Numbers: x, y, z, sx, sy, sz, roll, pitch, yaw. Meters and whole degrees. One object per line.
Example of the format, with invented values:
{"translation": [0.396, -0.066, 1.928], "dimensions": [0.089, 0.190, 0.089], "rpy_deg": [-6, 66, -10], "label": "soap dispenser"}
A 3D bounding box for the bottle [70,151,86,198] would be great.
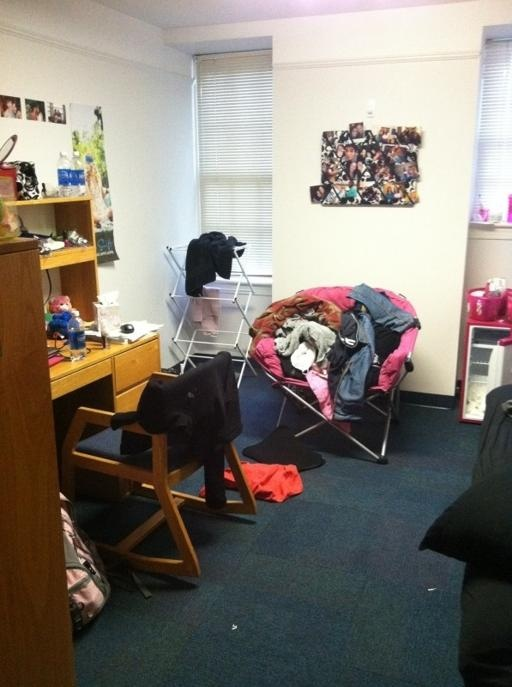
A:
{"translation": [-0.963, -0.918, 2.943], "dimensions": [0.063, 0.226, 0.264], "rpy_deg": [-5, 13, -18], "label": "bottle"}

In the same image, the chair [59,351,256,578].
{"translation": [-0.396, 0.384, 2.490], "dimensions": [0.865, 0.956, 0.817], "rpy_deg": [11, 17, 25], "label": "chair"}

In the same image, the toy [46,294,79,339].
{"translation": [-0.990, -0.131, 2.762], "dimensions": [0.195, 0.093, 0.267], "rpy_deg": [-2, 25, -8], "label": "toy"}
